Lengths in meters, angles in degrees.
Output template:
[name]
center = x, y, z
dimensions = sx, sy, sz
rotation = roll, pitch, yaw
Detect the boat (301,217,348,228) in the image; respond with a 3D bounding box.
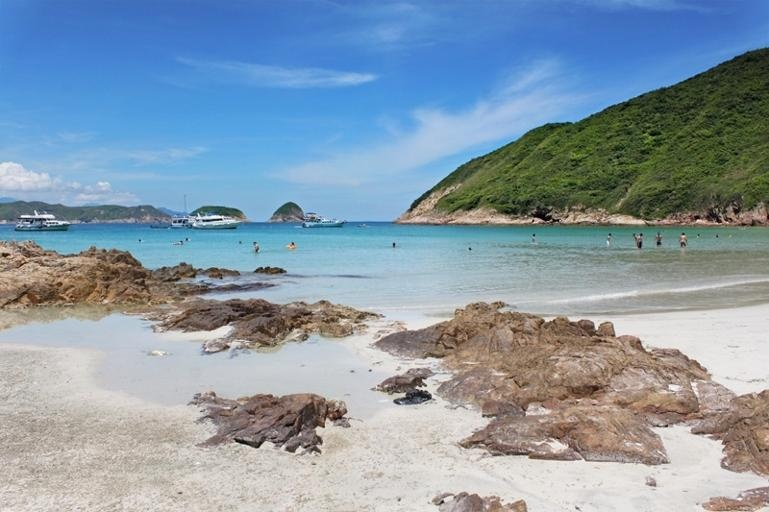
[boat]
center = -17.323, -9.629, 151.162
dimensions = 9.542, 4.040, 10.470
rotation = -2, 8, -9
